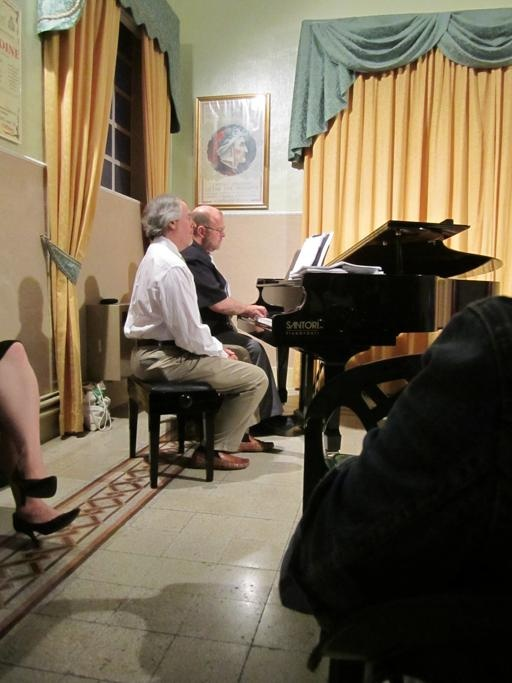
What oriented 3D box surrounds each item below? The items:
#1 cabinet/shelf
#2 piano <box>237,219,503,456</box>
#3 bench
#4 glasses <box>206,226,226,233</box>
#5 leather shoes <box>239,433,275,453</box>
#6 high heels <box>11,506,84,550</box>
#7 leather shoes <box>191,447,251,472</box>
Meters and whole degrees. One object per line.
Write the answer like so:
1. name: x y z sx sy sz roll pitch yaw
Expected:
1. cabinet/shelf: -0.937 0.033 3.877 0.321 0.585 0.627 1 -2 13
2. piano: 0.653 -0.094 3.034 1.294 1.146 1.152 -1 3 -13
3. bench: -0.430 0.406 2.735 0.321 0.493 0.558 0 11 -19
4. glasses: -0.266 -0.742 3.538 0.129 0.043 0.132 6 9 16
5. leather shoes: -0.002 0.590 3.092 0.222 0.093 0.083 -1 0 -23
6. high heels: -0.737 0.660 1.852 0.235 0.134 0.074 -26 -19 13
7. leather shoes: -0.171 0.621 2.728 0.320 0.125 0.121 1 0 -9
